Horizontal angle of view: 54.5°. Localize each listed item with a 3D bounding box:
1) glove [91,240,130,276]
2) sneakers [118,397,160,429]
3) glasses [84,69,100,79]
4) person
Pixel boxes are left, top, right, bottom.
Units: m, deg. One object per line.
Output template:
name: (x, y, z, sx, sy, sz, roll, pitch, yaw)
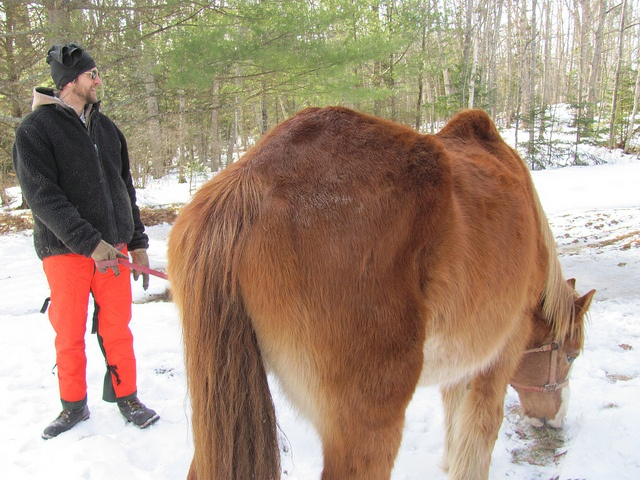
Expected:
glove: (-2.186, 0.151, 6.336, 0.266, 0.385, 0.133, -13, 9, -11)
sneakers: (-2.040, 1.856, 6.822, 0.624, 0.274, 0.214, 3, 12, 43)
glasses: (-2.424, -1.752, 6.540, 0.121, 0.050, 0.095, 6, 2, 30)
person: (-2.500, 0.010, 6.574, 1.202, 4.055, 0.822, -7, 12, -17)
